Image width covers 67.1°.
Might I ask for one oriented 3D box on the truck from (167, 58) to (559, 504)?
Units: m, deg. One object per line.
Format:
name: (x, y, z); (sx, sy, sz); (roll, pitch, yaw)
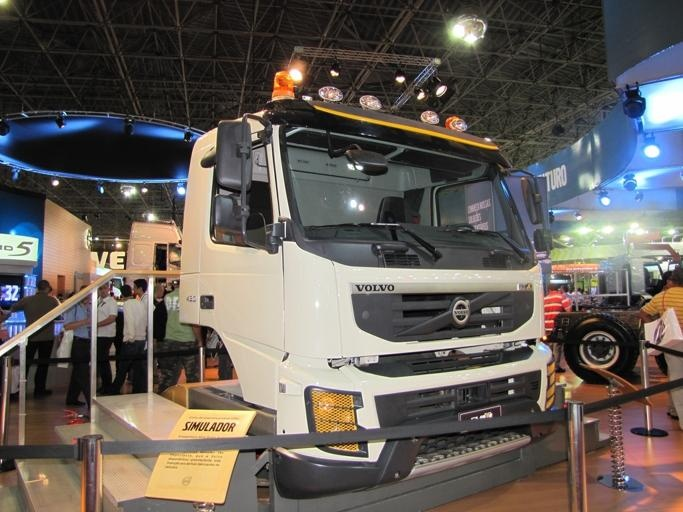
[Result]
truck: (-0.054, 0.665, 6.306); (3.320, 3.475, 4.278); (7, -17, -28)
